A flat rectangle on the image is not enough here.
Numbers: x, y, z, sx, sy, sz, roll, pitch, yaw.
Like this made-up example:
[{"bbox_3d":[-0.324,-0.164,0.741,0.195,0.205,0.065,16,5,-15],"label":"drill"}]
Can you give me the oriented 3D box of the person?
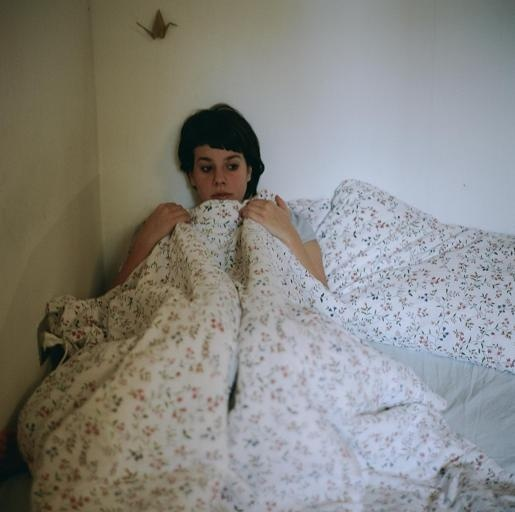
[{"bbox_3d":[-0.090,-0.103,1.906,0.507,0.313,0.807,-1,67,0],"label":"person"}]
